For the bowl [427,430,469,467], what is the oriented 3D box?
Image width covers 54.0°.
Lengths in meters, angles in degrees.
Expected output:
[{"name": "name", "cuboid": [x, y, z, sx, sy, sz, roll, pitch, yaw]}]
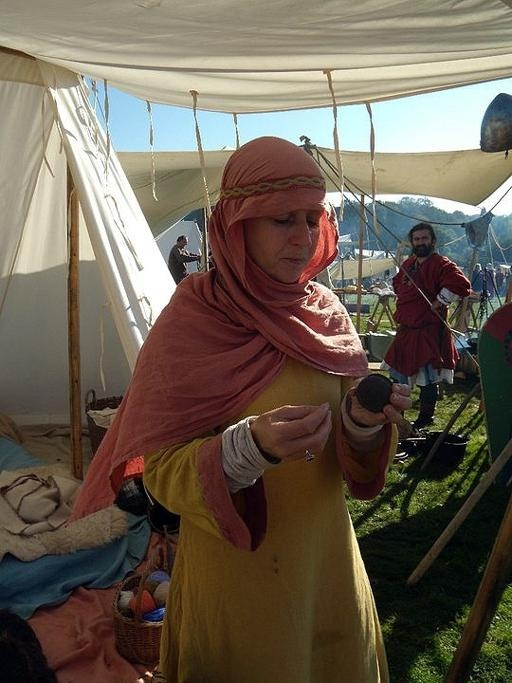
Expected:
[{"name": "bowl", "cuboid": [1.533, 0.866, 4.141, 0.361, 0.217, 0.323, 8, -7, -39]}]

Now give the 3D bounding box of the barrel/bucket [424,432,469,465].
[{"name": "barrel/bucket", "cuboid": [1.580, 0.888, 4.204, 0.330, 0.218, 0.348, 2, -9, 0]}]
